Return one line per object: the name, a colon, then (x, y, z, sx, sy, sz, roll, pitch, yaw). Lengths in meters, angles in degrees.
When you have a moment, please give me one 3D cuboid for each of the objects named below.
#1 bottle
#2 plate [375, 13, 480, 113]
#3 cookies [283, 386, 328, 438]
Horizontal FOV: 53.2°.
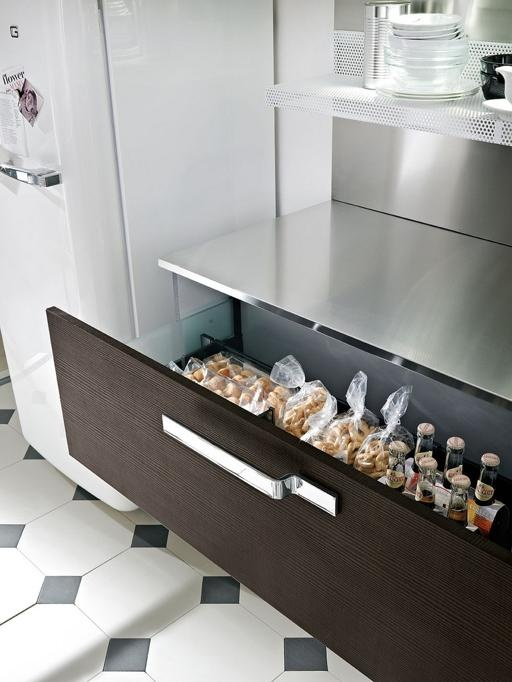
bottle: (0.253, 0.185, 0.692, 0.038, 0.100, 0.106, -18, 30, -40)
plate: (0.229, -0.370, 0.681, 0.138, 0.092, 0.129, 10, 29, 20)
cookies: (0.109, 0.149, 1.003, 0.101, 0.032, 0.062, -51, 44, -10)
